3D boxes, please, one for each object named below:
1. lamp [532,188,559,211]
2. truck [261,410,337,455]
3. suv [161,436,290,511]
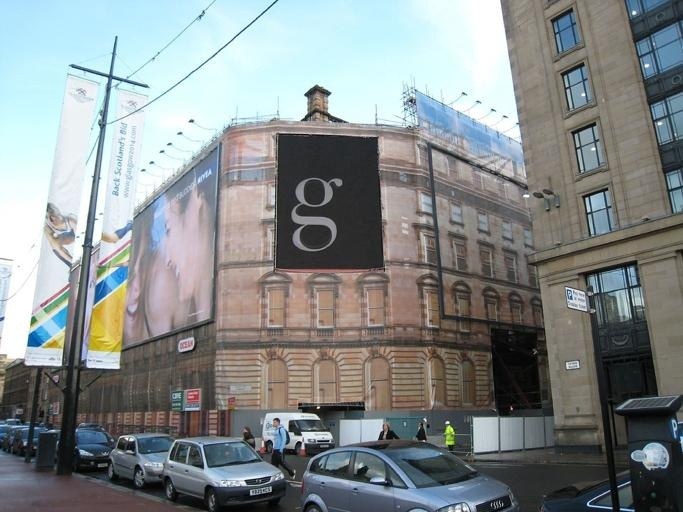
[{"bbox_3d":[10.917,-2.997,30.068,1.211,1.087,0.610,-17,-23,40],"label":"lamp"},{"bbox_3d":[-2.701,10.358,34.199,3.062,2.630,5.335,9,-20,-34],"label":"truck"},{"bbox_3d":[-3.862,6.999,18.274,3.933,2.113,1.903,-15,-22,36],"label":"suv"}]
